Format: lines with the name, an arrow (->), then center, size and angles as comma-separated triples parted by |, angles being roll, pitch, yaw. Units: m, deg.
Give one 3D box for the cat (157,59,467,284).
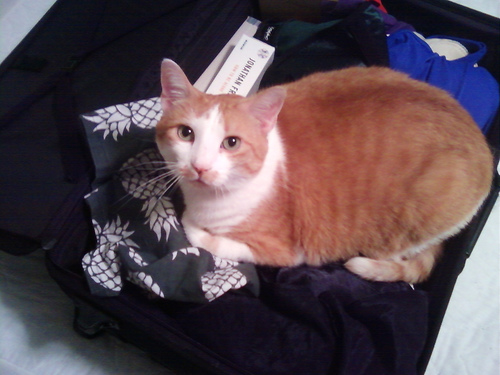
cat -> 0.189, -0.062, 1.310 | 0.833, 0.478, 0.495 | -2, 40, -10
